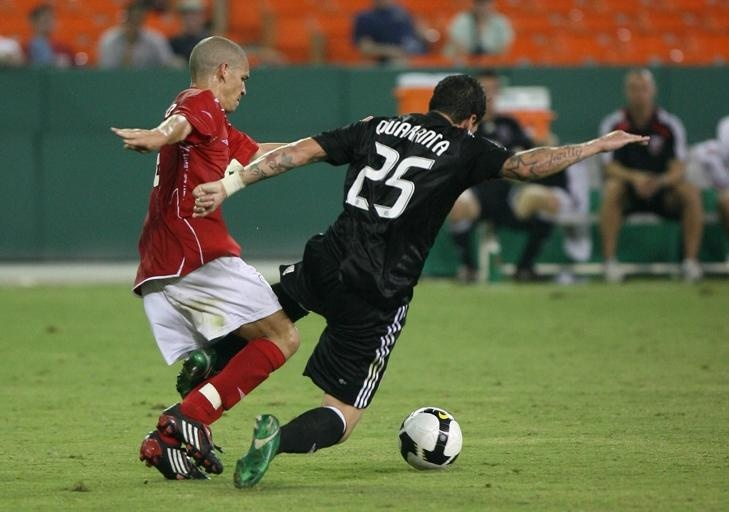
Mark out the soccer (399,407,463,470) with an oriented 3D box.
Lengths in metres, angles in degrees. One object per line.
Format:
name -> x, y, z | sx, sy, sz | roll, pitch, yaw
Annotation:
soccer -> 0.491, 1.298, 8.129 | 0.389, 0.393, 0.392 | 10, -13, 11

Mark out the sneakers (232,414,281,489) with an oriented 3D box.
sneakers -> -0.717, 1.306, 7.682 | 0.236, 0.504, 0.193 | 7, -31, 38
